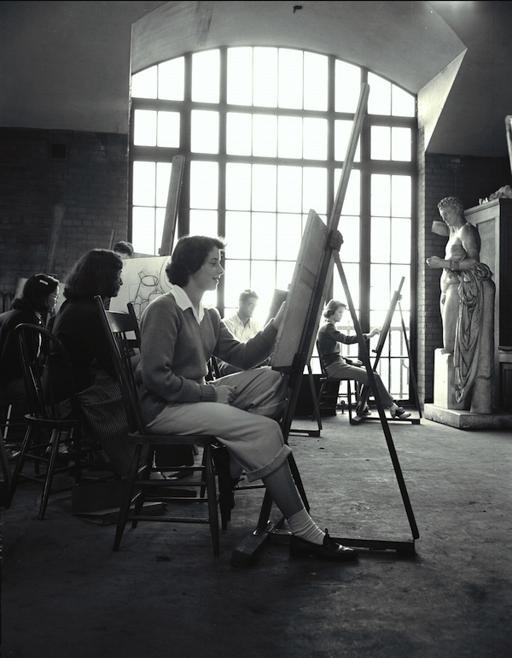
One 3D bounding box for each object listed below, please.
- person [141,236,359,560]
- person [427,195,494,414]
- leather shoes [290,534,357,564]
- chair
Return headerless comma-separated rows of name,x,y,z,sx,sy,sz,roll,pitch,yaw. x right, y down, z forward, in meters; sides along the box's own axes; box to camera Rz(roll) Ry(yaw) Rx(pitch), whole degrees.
person,-0.066,0.174,2.153,0.674,0.993,0.548,3,0,8
person,1.891,-0.246,5.620,0.624,2.033,0.398,3,1,42
leather shoes,0.211,0.699,2.007,0.222,0.123,0.092,3,-7,8
chair,-0.285,0.300,2.671,1.159,1.823,0.736,-1,-1,-4
